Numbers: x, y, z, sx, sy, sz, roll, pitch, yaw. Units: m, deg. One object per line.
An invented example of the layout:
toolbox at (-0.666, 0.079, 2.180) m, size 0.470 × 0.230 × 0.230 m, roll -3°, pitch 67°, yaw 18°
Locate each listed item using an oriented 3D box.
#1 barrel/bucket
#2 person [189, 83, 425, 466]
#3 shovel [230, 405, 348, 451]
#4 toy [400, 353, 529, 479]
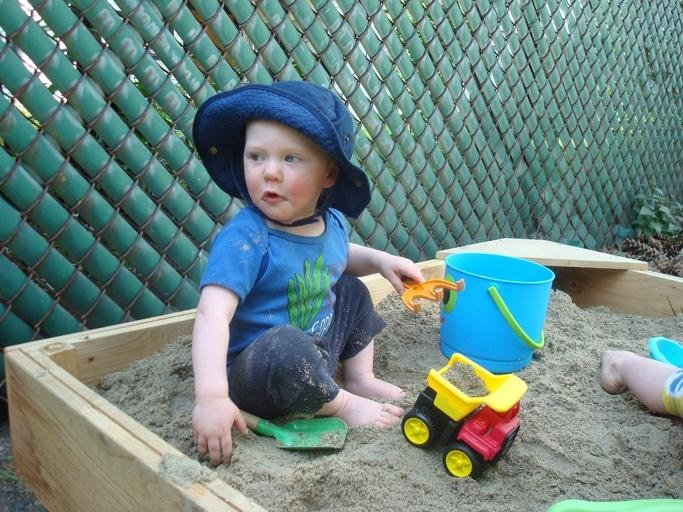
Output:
barrel/bucket at (0.516, 0.169, 2.166) m, size 0.327 × 0.350 × 0.395 m, roll 3°, pitch 14°, yaw -1°
person at (-0.155, 0.006, 1.835) m, size 0.485 × 1.032 × 0.803 m, roll -2°, pitch 3°, yaw 40°
shovel at (-0.128, 0.492, 1.720) m, size 0.292 × 0.065 × 0.135 m, roll 22°, pitch 37°, yaw -29°
toy at (0.338, 0.430, 1.732) m, size 0.284 × 0.258 × 0.250 m, roll 30°, pitch 30°, yaw 36°
